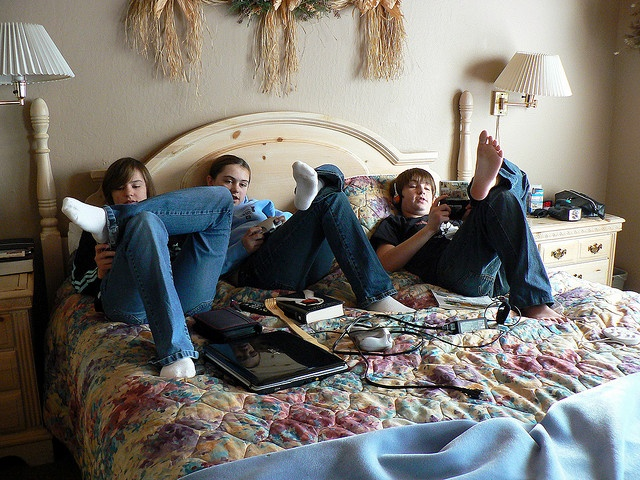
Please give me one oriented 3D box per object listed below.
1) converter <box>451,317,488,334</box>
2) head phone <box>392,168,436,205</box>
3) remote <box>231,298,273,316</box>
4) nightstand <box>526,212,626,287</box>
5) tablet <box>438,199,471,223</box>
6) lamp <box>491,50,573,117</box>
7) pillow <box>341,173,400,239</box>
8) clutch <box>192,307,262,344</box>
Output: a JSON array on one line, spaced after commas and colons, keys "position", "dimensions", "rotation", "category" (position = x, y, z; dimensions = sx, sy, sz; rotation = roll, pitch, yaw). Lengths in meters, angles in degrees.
[{"position": [0.546, 0.312, 1.799], "dimensions": [0.103, 0.027, 0.057], "rotation": [-3, -1, -6], "category": "converter"}, {"position": [0.510, -0.287, 2.708], "dimensions": [0.187, 0.229, 0.209], "rotation": [1, 7, 1], "category": "head phone"}, {"position": [-0.283, 0.268, 1.996], "dimensions": [0.126, 0.019, 0.067], "rotation": [11, 15, 17], "category": "remote"}, {"position": [1.481, 0.045, 2.891], "dimensions": [0.398, 0.403, 0.239], "rotation": [-8, 16, -28], "category": "nightstand"}, {"position": [0.636, -0.145, 2.249], "dimensions": [0.106, 0.105, 0.027], "rotation": [5, 17, 3], "category": "tablet"}, {"position": [1.301, -0.984, 3.220], "dimensions": [0.400, 0.396, 0.451], "rotation": [-7, 26, -20], "category": "lamp"}, {"position": [0.270, -0.215, 2.692], "dimensions": [0.292, 0.330, 0.092], "rotation": [3, -22, -34], "category": "pillow"}, {"position": [-0.350, 0.313, 1.831], "dimensions": [0.187, 0.065, 0.240], "rotation": [-7, 10, -42], "category": "clutch"}]
